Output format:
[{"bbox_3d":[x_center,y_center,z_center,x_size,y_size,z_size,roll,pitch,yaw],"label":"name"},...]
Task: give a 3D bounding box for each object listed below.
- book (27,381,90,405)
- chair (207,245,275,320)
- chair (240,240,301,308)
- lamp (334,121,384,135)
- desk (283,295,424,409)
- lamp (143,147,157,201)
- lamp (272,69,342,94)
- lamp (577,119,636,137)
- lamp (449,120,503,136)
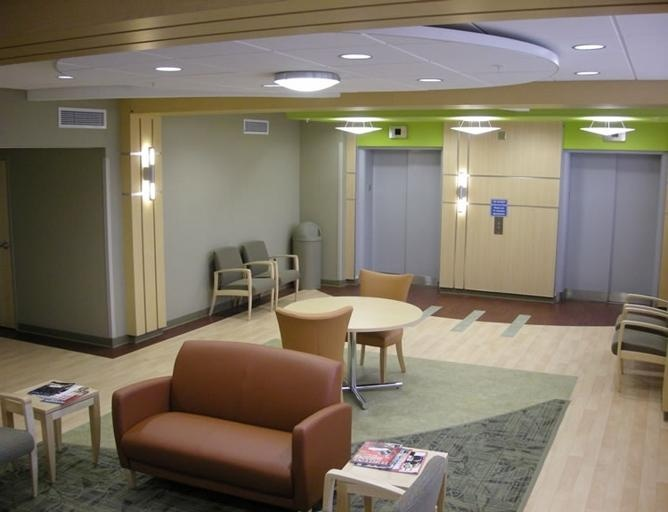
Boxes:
[{"bbox_3d":[-2.429,1.201,4.462,0.317,0.024,0.280,10,13,29],"label":"book"},{"bbox_3d":[-1.615,0.433,8.915,0.972,1.150,0.961,5,12,24],"label":"chair"},{"bbox_3d":[-1.131,0.311,9.881,1.131,1.371,1.194,5,10,31],"label":"chair"},{"bbox_3d":[0.535,-2.528,10.077,0.884,0.255,1.276,1,10,3],"label":"lamp"},{"bbox_3d":[0.226,1.167,5.695,1.253,0.743,1.219,22,-43,-34],"label":"desk"},{"bbox_3d":[-2.688,-1.174,7.356,0.081,0.756,0.206,5,13,22],"label":"lamp"},{"bbox_3d":[-0.227,-1.278,3.729,0.507,0.102,0.299,5,11,22],"label":"lamp"},{"bbox_3d":[4.679,-2.167,8.680,0.640,0.201,0.612,-2,10,-9],"label":"lamp"},{"bbox_3d":[2.640,-2.389,9.508,0.952,0.264,1.021,3,11,16],"label":"lamp"}]
